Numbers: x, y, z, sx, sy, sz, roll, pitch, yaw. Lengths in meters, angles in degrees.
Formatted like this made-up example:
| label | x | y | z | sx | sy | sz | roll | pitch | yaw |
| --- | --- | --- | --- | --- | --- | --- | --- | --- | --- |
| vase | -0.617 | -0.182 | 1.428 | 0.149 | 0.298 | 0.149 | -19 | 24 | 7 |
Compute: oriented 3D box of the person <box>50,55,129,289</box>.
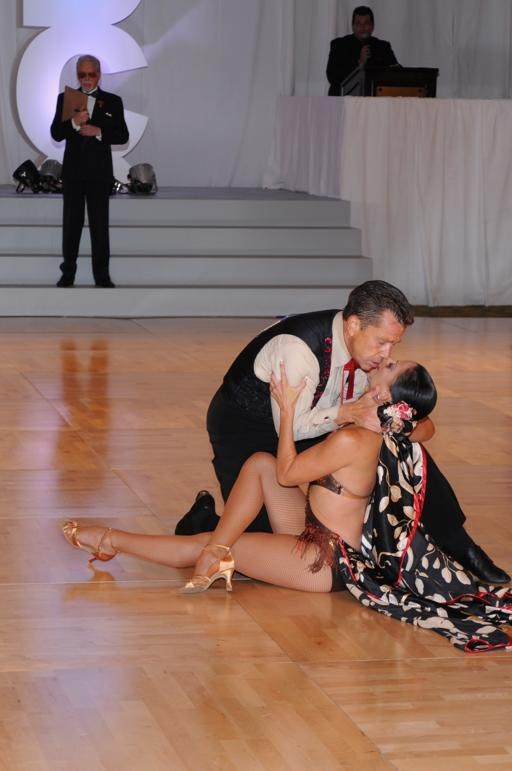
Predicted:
| label | x | y | z | sx | sy | sz | roll | pitch | yaw |
| --- | --- | --- | --- | --- | --- | --- | --- | --- | --- |
| person | -1.654 | -2.069 | 6.942 | 0.715 | 2.182 | 0.591 | 2 | 2 | -15 |

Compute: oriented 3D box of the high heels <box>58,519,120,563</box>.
| label | x | y | z | sx | sy | sz | roll | pitch | yaw |
| --- | --- | --- | --- | --- | --- | --- | --- | --- | --- |
| high heels | -0.476 | 0.464 | 2.080 | 0.196 | 0.112 | 0.081 | 32 | -56 | -31 |

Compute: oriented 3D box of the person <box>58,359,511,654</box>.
| label | x | y | z | sx | sy | sz | roll | pitch | yaw |
| --- | --- | --- | --- | --- | --- | --- | --- | --- | --- |
| person | 0.078 | 0.275 | 1.923 | 1.016 | 0.450 | 0.518 | 7 | 14 | 20 |

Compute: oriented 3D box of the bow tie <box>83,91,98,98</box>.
| label | x | y | z | sx | sy | sz | roll | pitch | yaw |
| --- | --- | --- | --- | --- | --- | --- | --- | --- | --- |
| bow tie | -1.588 | -2.800 | 6.750 | 0.091 | 0.042 | 0.098 | -1 | 2 | -3 |

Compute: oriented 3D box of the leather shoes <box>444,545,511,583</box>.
| label | x | y | z | sx | sy | sz | roll | pitch | yaw |
| --- | --- | --- | --- | --- | --- | --- | --- | --- | --- |
| leather shoes | 0.632 | 0.518 | 2.021 | 0.184 | 0.070 | 0.055 | 20 | 35 | 23 |

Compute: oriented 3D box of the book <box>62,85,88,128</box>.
| label | x | y | z | sx | sy | sz | roll | pitch | yaw |
| --- | --- | --- | --- | --- | --- | --- | --- | --- | --- |
| book | -1.714 | -2.668 | 6.657 | 0.231 | 0.280 | 0.152 | 3 | 2 | -8 |

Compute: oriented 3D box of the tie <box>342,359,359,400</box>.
| label | x | y | z | sx | sy | sz | roll | pitch | yaw |
| --- | --- | --- | --- | --- | --- | --- | --- | --- | --- |
| tie | 0.247 | -0.013 | 1.857 | 0.023 | 0.082 | 0.064 | 12 | -23 | 7 |
